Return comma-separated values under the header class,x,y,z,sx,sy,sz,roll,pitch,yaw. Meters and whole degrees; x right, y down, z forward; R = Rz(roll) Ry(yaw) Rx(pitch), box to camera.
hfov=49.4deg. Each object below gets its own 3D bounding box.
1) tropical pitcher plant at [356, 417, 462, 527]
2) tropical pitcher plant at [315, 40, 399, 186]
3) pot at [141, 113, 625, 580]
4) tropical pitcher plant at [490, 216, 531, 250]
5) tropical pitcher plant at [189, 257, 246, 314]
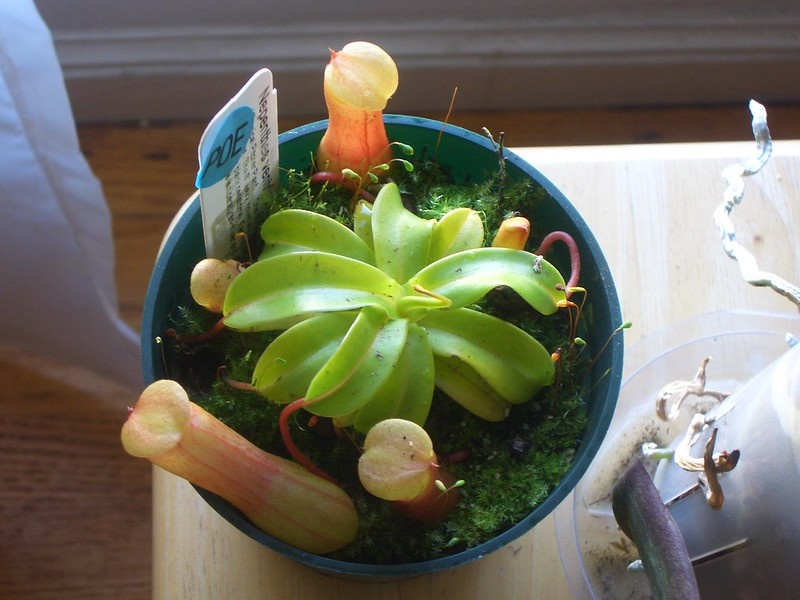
class,x,y,z,sx,sy,sz,roll,pitch,yaw
tropical pitcher plant,0.013,0.235,1.166,0.134,0.168,0.089,-1,47,-3
tropical pitcher plant,-0.065,-0.273,1.303,0.116,0.247,0.107,11,67,2
pot,-0.174,-0.032,1.188,0.691,0.285,0.717,1,22,0
tropical pitcher plant,0.158,-0.094,1.247,0.047,0.051,0.046,18,49,14
tropical pitcher plant,-0.266,-0.021,1.265,0.100,0.086,0.079,1,12,-23
